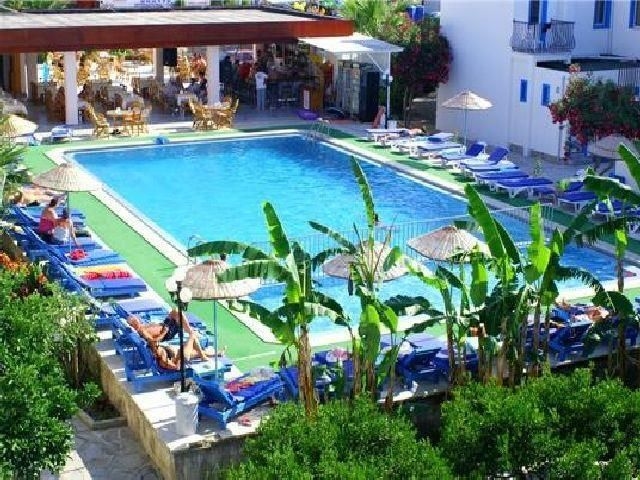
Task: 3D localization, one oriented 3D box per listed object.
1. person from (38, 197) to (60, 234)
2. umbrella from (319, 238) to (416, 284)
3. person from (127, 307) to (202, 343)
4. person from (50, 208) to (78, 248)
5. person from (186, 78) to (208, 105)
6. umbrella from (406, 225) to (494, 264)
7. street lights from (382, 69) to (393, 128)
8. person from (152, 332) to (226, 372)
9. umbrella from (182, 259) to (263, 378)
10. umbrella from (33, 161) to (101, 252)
[{"bbox_3d":[-5.653,-0.476,20.555,0.425,0.818,0.516,11,8,-33],"label":"person"},{"bbox_3d":[0.683,0.361,16.440,0.857,0.380,0.880,17,25,40],"label":"umbrella"},{"bbox_3d":[-2.613,1.443,16.352,1.131,0.556,0.624,-12,11,-24],"label":"person"},{"bbox_3d":[-5.345,-0.236,20.445,0.276,0.839,0.643,3,7,35],"label":"person"},{"bbox_3d":[-4.614,-5.679,37.265,0.708,1.200,0.971,3,4,24],"label":"person"},{"bbox_3d":[2.284,0.023,16.612,1.031,0.576,1.754,-9,11,-28],"label":"umbrella"},{"bbox_3d":[2.371,-4.762,33.453,0.385,1.934,0.568,-7,14,-1],"label":"street lights"},{"bbox_3d":[-2.269,1.830,16.028,0.837,0.430,0.572,-12,29,-31],"label":"person"},{"bbox_3d":[-1.673,1.464,15.559,1.068,2.084,1.103,7,8,40],"label":"umbrella"},{"bbox_3d":[-5.116,-0.833,19.880,1.024,1.536,1.146,5,5,27],"label":"umbrella"}]
